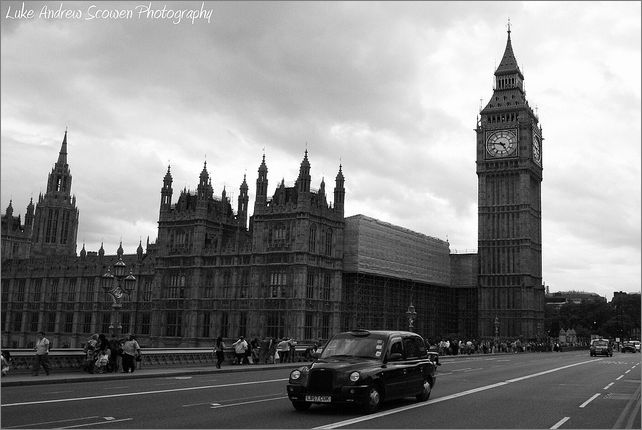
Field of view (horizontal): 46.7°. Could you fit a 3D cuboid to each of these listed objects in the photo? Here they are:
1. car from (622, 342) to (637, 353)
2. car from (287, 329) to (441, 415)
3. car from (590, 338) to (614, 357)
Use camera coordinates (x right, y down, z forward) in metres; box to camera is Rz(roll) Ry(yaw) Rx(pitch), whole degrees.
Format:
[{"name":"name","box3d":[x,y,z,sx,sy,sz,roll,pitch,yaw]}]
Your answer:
[{"name":"car","box3d":[44.853,19.175,107.582,1.439,1.069,2.570,-3,-6,24]},{"name":"car","box3d":[1.950,6.907,33.326,6.442,3.621,2.498,13,-17,-37]},{"name":"car","box3d":[32.589,15.331,86.063,2.241,2.197,5.453,-2,-13,19]}]
